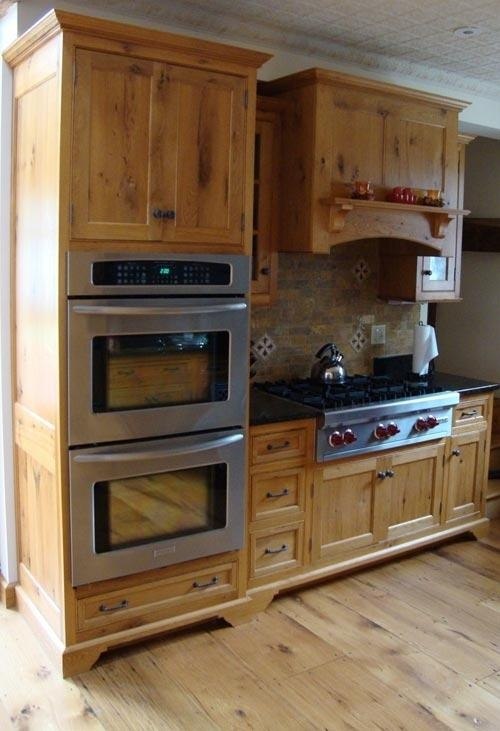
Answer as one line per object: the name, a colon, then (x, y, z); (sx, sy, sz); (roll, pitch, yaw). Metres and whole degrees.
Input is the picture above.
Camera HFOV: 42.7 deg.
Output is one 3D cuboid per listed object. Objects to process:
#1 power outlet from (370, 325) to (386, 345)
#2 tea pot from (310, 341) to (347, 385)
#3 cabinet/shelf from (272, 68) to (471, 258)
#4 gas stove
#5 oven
power outlet: (0.754, -0.176, 3.741); (0.109, 0.113, 0.028); (-6, 8, -42)
tea pot: (0.404, -0.020, 3.251); (0.158, 0.191, 0.226); (12, 19, 30)
cabinet/shelf: (0.551, -0.941, 2.993); (1.056, 0.790, 0.439); (-9, 13, -40)
gas stove: (0.489, 0.116, 3.156); (0.896, 0.069, 0.585); (-3, 8, -33)
oven: (-0.425, 0.163, 2.453); (0.767, 1.166, 0.677); (-5, 8, -40)
